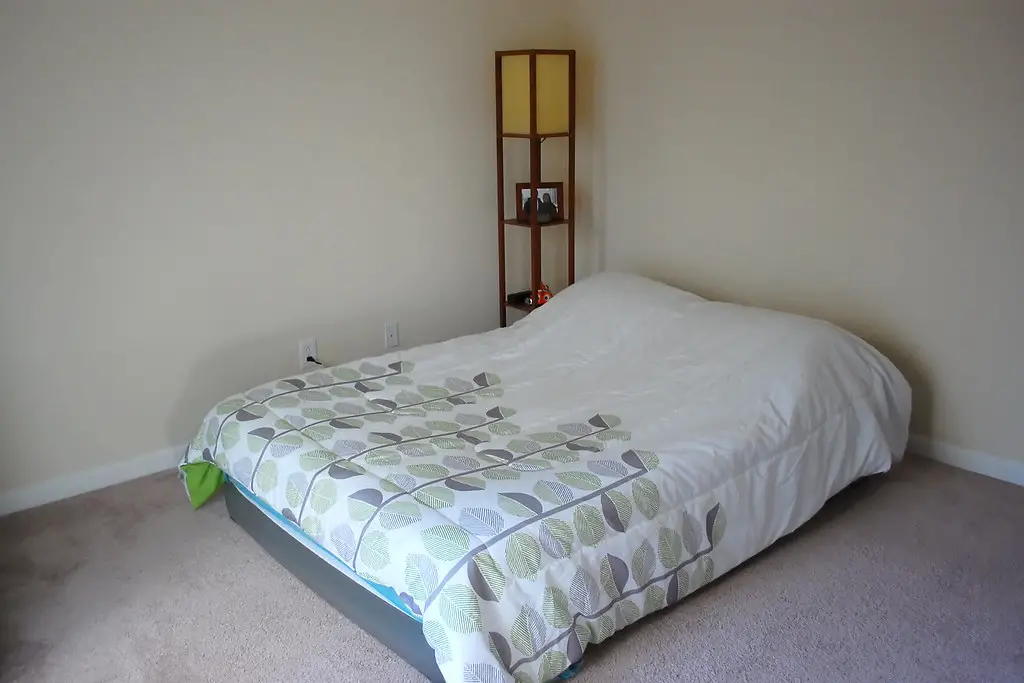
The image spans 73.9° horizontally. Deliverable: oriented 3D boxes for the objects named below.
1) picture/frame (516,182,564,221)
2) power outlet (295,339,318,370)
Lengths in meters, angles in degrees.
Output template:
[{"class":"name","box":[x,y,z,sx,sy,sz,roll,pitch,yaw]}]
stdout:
[{"class":"picture/frame","box":[0.164,-0.840,4.078,0.216,0.220,0.121,-3,19,-10]},{"class":"power outlet","box":[-1.138,0.062,3.742,0.023,0.206,0.118,18,24,39]}]
